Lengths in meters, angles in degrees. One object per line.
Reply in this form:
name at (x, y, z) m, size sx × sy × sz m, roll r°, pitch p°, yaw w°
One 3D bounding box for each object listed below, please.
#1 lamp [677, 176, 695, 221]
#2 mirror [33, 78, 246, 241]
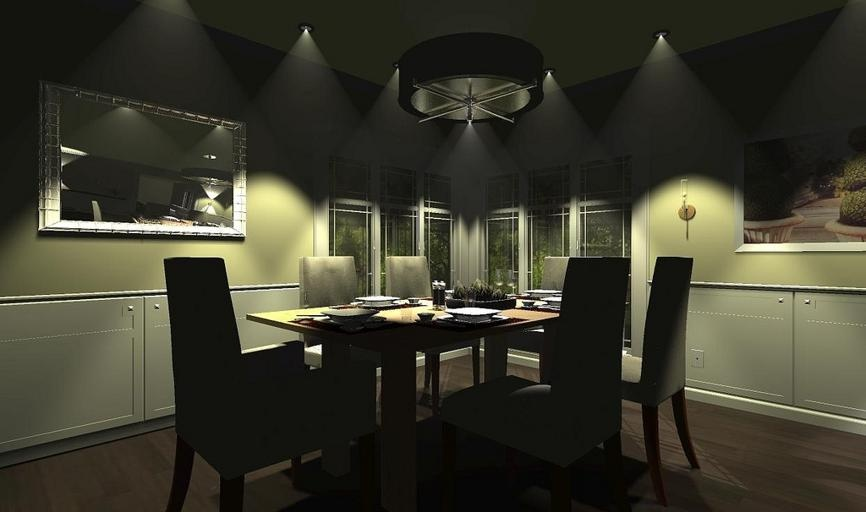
lamp at (2.777, -0.630, 5.841) m, size 0.169 × 0.478 × 0.044 m, roll 2°, pitch 2°, yaw 26°
mirror at (-2.783, -0.864, 5.330) m, size 0.074 × 1.317 × 1.872 m, roll 4°, pitch 2°, yaw 41°
